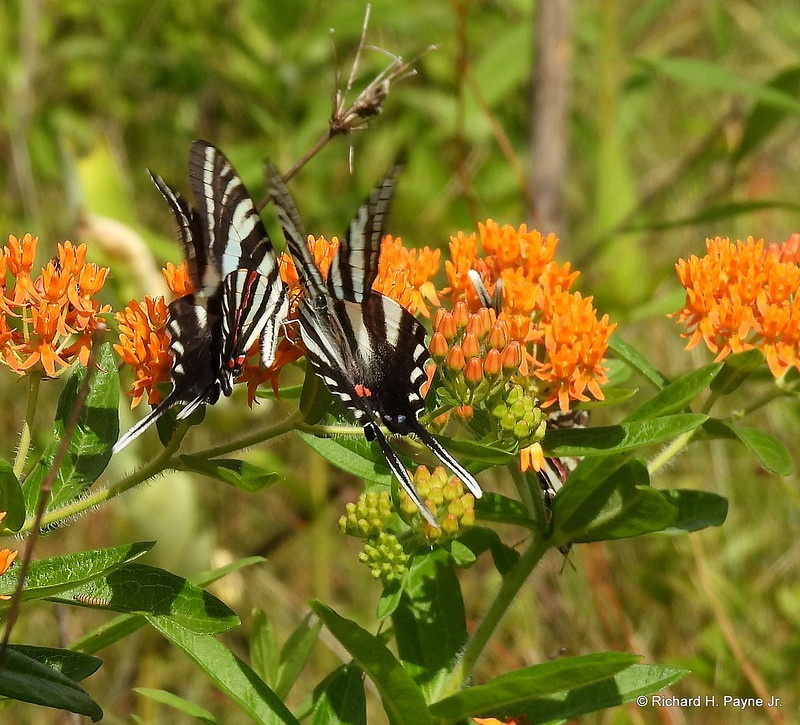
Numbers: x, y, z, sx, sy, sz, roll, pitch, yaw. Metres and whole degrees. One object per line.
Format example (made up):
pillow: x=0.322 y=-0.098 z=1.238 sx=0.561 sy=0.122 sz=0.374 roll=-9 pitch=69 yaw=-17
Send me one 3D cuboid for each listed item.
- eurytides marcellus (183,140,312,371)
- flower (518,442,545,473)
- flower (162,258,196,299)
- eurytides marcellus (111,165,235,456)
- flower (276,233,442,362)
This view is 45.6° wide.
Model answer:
eurytides marcellus: x=-0.363 y=-0.268 z=2.153 sx=0.213 sy=0.531 sz=0.224 roll=-4 pitch=15 yaw=-10
flower: x=0.275 y=0.200 z=1.993 sx=0.046 sy=0.062 sz=0.058 roll=8 pitch=-28 yaw=-13
flower: x=-0.499 y=-0.192 z=2.168 sx=0.066 sy=0.058 sz=0.084 roll=-1 pitch=-2 yaw=-19
eurytides marcellus: x=-0.461 y=-0.088 z=2.073 sx=0.231 sy=0.647 sz=0.232 roll=-6 pitch=15 yaw=-9
flower: x=-0.039 y=-0.092 z=2.285 sx=0.281 sy=0.350 sz=0.152 roll=5 pitch=-7 yaw=-13
